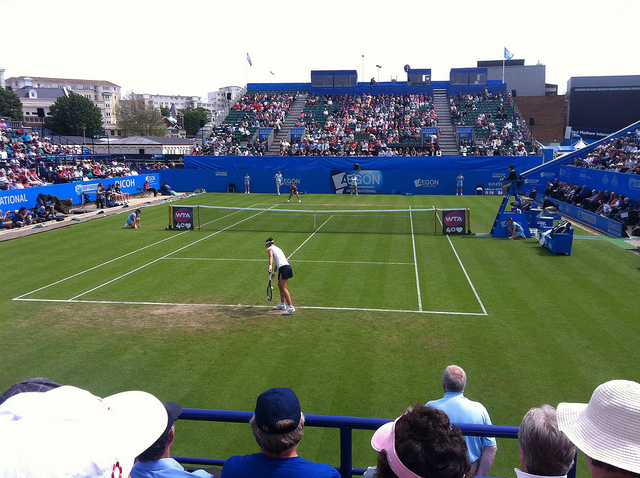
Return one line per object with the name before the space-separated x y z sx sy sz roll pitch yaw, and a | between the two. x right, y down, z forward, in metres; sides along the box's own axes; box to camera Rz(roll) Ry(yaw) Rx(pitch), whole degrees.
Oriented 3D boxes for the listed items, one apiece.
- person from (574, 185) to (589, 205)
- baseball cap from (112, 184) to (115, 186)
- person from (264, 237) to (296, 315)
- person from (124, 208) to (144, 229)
person | 15.345 -2.581 32.836 0.637 0.972 1.223 5 13 24
baseball cap | -14.961 -3.902 40.304 0.249 0.191 0.252 -4 16 -14
person | -1.117 0.978 15.515 0.722 1.942 1.424 -2 11 -7
person | -9.627 -1.114 28.905 0.842 0.970 1.340 -8 14 -32
